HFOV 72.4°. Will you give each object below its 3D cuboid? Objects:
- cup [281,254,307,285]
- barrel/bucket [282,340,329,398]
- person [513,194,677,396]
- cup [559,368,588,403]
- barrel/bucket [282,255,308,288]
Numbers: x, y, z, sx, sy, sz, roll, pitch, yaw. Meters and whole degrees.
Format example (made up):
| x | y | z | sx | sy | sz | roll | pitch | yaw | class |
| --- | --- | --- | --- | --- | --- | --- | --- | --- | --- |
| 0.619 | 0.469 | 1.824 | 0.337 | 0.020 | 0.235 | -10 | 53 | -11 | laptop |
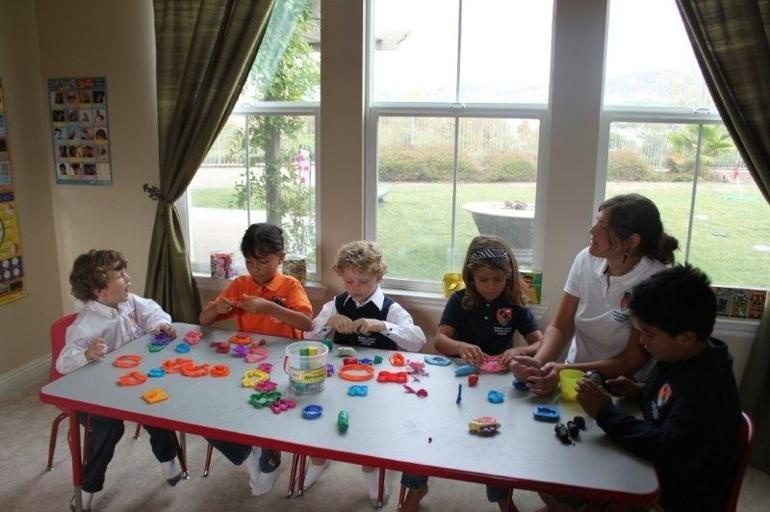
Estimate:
| x | y | z | sx | sy | sz | roll | pitch | yaw | class |
| --- | --- | --- | --- | --- | --- | --- | --- | --- | --- |
| -0.601 | 0.093 | 3.568 | 0.181 | 0.191 | 0.174 | -1 | 6 | 0 | cup |
| -0.365 | 0.537 | 2.476 | 0.185 | 0.160 | 0.217 | -1 | 9 | -7 | barrel/bucket |
| 1.080 | 0.201 | 2.656 | 0.750 | 0.890 | 0.431 | -16 | 42 | -2 | person |
| 0.817 | 0.573 | 2.329 | 0.113 | 0.106 | 0.136 | 1 | 2 | 0 | cup |
| -0.599 | 0.110 | 3.567 | 0.187 | 0.196 | 0.173 | -4 | 11 | 1 | barrel/bucket |
